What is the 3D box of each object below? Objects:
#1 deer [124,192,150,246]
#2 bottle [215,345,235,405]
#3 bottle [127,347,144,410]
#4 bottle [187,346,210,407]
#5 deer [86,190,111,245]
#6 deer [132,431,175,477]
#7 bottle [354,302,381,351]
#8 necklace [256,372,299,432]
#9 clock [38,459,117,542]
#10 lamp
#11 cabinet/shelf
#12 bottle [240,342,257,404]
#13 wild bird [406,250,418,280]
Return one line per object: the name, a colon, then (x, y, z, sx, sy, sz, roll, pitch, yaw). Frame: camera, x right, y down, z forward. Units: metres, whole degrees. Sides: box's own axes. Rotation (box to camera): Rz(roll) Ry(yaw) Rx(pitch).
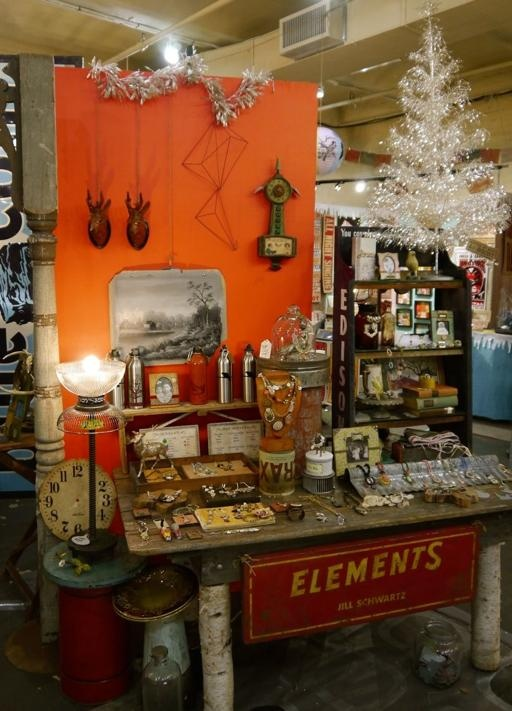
deer: (-0.607, -0.700, 2.886, 0.119, 0.297, 0.119, -1, 2, -14)
bottle: (-0.173, 0.098, 3.053, 0.076, 0.312, 0.173, -1, 2, -5)
bottle: (-0.615, 0.117, 2.854, 0.081, 0.299, 0.082, 0, 2, 0)
bottle: (-0.313, 0.109, 3.011, 0.098, 0.299, 0.150, -1, 2, -9)
deer: (-0.790, -0.688, 2.810, 0.115, 0.280, 0.109, -1, 2, -15)
deer: (-0.527, 0.468, 2.782, 0.202, 0.227, 0.097, -9, 11, -23)
bottle: (0.602, -0.159, 3.043, 0.123, 0.253, 0.090, 0, 2, 12)
necklace: (0.113, 0.216, 2.595, 0.188, 0.273, 0.167, 1, 2, 21)
clock: (-0.873, 0.706, 2.855, 0.378, 0.386, 0.387, 4, -2, -13)
lamp: (-0.771, 0.495, 2.679, 0.317, 1.026, 1.002, -1, 3, -16)
cabinet/shelf: (0.807, -0.111, 3.293, 0.908, 1.265, 0.563, -1, 2, -21)
bottle: (-0.037, 0.099, 3.046, 0.110, 0.314, 0.080, 0, 2, 22)
wild bird: (0.903, -0.538, 3.257, 0.058, 0.167, 0.239, 0, 3, 15)
